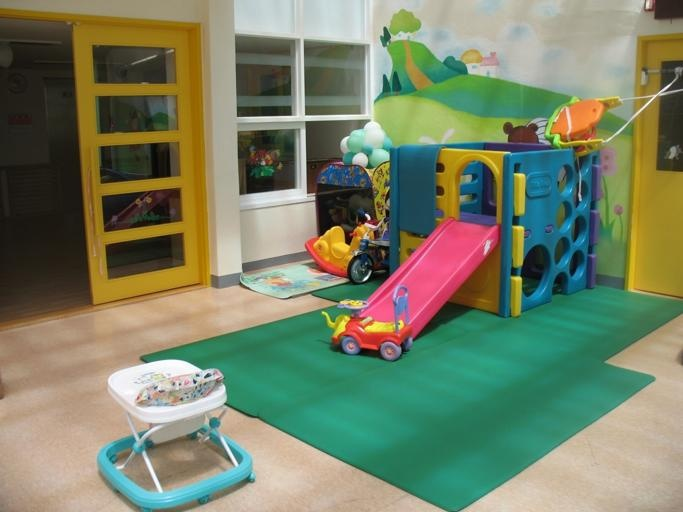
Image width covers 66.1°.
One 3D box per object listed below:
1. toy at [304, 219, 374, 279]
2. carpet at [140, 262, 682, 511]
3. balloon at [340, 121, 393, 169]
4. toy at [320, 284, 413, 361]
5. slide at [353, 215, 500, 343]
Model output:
[{"bbox_3d":[-0.064,-0.098,6.507,0.495,0.509,0.833,-4,12,-42],"label":"toy"},{"bbox_3d":[0.596,0.949,3.993,2.007,0.030,1.769,-16,22,-40],"label":"carpet"},{"bbox_3d":[0.322,-1.463,6.961,0.654,0.566,0.559,0,17,4],"label":"balloon"},{"bbox_3d":[0.293,0.525,4.691,0.882,0.677,0.435,6,13,23],"label":"toy"},{"bbox_3d":[0.852,0.136,4.887,0.668,0.239,1.745,17,53,36],"label":"slide"}]
